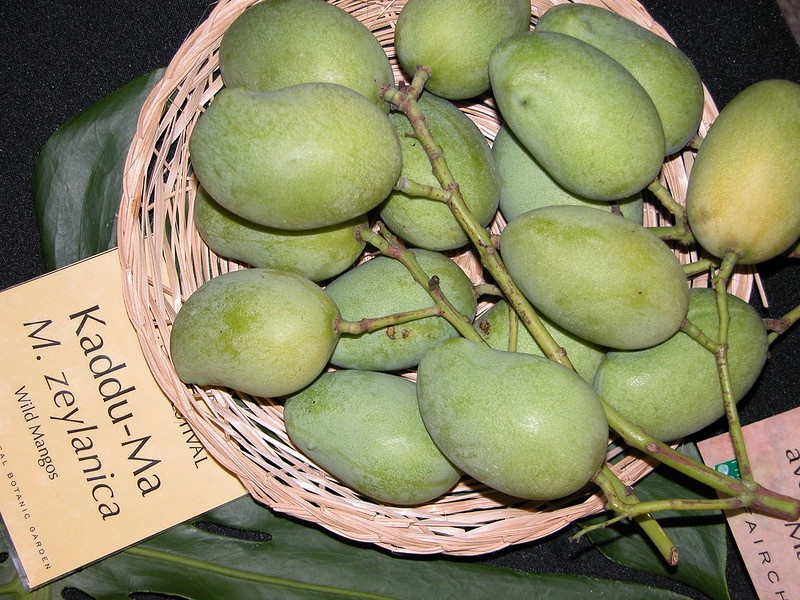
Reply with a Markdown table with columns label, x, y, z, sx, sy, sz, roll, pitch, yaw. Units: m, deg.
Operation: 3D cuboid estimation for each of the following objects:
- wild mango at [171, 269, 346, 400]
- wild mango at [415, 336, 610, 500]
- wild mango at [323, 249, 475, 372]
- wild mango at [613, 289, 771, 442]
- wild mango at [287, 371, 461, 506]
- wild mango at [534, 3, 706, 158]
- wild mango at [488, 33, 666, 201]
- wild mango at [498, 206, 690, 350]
| label | x | y | z | sx | sy | sz | roll | pitch | yaw |
| --- | --- | --- | --- | --- | --- | --- | --- | --- | --- |
| wild mango | -0.241 | 0.058 | 1.408 | 0.308 | 0.176 | 0.231 | -2 | 59 | 6 |
| wild mango | 0.167 | 0.181 | 1.266 | 0.311 | 0.103 | 0.210 | 16 | 72 | 4 |
| wild mango | -0.004 | 0.015 | 1.504 | 0.269 | 0.168 | 0.165 | -10 | 38 | 7 |
| wild mango | 0.503 | 0.134 | 1.457 | 0.285 | 0.176 | 0.195 | -23 | 24 | -7 |
| wild mango | -0.056 | 0.227 | 1.445 | 0.288 | 0.172 | 0.181 | 26 | 97 | 9 |
| wild mango | 0.404 | -0.410 | 1.509 | 0.335 | 0.197 | 0.182 | 36 | 91 | 17 |
| wild mango | 0.311 | -0.332 | 1.424 | 0.325 | 0.199 | 0.192 | 42 | 40 | 2 |
| wild mango | 0.378 | -0.009 | 1.392 | 0.201 | 0.188 | 0.311 | 2 | 17 | -33 |
